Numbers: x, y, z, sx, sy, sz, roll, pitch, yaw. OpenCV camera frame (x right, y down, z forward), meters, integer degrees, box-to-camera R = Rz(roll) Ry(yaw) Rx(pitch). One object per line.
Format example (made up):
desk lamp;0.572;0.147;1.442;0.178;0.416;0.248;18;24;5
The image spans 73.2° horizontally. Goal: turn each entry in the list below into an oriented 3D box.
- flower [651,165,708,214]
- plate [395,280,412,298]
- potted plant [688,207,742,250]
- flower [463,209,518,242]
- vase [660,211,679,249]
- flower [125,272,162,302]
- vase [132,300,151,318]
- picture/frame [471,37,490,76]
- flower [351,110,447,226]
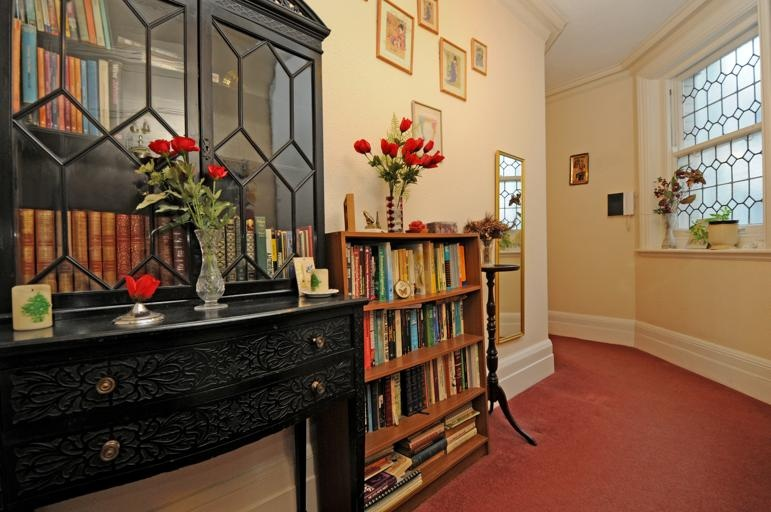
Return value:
flower;3.064;-0.686;5.440;0.276;0.497;0.637;-4;3;-12
plate;0.123;0.222;3.457;0.106;0.111;0.041;6;-13;-28
potted plant;3.187;-0.276;5.029;0.313;0.396;0.486;-2;3;10
flower;0.803;-0.208;3.971;0.295;0.209;0.303;-4;1;-7
vase;3.035;-0.274;5.566;0.135;0.381;0.232;-1;4;35
flower;-1.224;0.167;2.689;0.144;0.170;0.165;-1;-6;26
vase;-1.206;0.265;2.578;0.074;0.044;0.073;1;-3;-39
picture/frame;0.791;-1.674;4.365;0.024;0.360;0.361;0;2;36
flower;0.132;-0.551;3.643;0.567;0.707;0.598;3;7;-29
